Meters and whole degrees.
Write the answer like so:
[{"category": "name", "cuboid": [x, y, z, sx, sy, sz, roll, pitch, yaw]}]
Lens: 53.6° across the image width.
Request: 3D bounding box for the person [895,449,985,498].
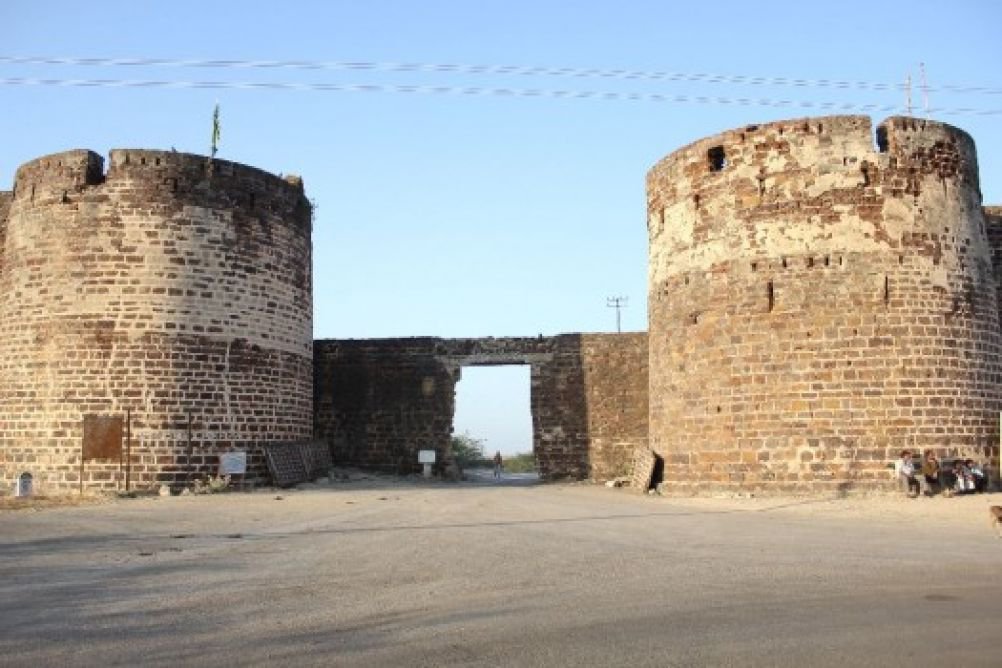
[{"category": "person", "cuboid": [9.668, 3.045, 21.858, 1.893, 0.918, 0.693, -1, 4, -6]}]
